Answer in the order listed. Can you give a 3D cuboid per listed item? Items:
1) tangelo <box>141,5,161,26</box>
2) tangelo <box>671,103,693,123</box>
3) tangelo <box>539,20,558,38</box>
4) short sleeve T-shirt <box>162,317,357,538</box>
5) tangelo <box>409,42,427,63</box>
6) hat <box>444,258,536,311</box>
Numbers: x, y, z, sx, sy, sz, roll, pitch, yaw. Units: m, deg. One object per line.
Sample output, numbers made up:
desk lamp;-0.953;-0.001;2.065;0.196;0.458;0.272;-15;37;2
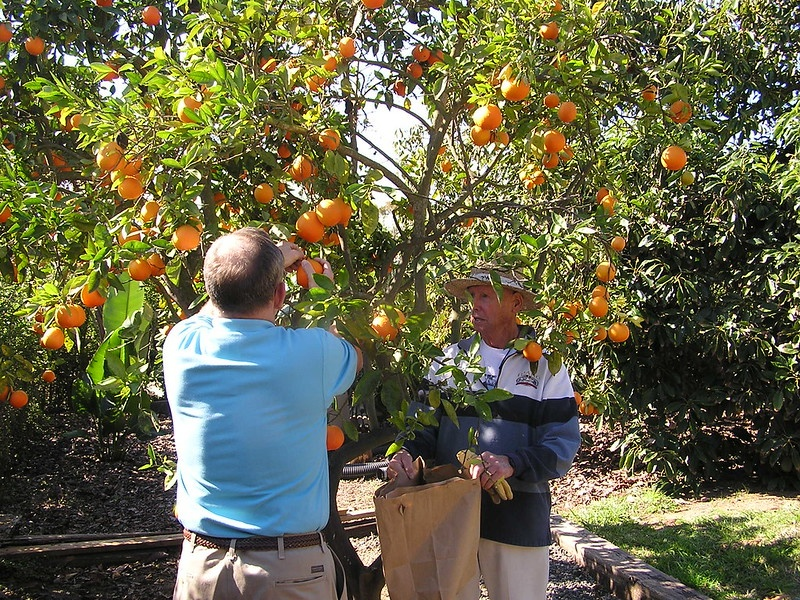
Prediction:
tangelo;-1.322;-1.517;3.165;0.082;0.081;0.095;1;-15;-2
tangelo;1.318;-0.881;2.799;0.066;0.081;0.069;28;32;-6
tangelo;0.658;-1.204;2.659;0.068;0.065;0.060;0;26;-24
short sleeve T-shirt;-0.488;0.416;2.396;0.751;0.944;0.674;1;4;17
tangelo;0.118;-1.393;3.347;0.094;0.114;0.084;-1;-14;4
hat;0.514;-0.106;2.915;0.305;0.091;0.311;5;17;-17
